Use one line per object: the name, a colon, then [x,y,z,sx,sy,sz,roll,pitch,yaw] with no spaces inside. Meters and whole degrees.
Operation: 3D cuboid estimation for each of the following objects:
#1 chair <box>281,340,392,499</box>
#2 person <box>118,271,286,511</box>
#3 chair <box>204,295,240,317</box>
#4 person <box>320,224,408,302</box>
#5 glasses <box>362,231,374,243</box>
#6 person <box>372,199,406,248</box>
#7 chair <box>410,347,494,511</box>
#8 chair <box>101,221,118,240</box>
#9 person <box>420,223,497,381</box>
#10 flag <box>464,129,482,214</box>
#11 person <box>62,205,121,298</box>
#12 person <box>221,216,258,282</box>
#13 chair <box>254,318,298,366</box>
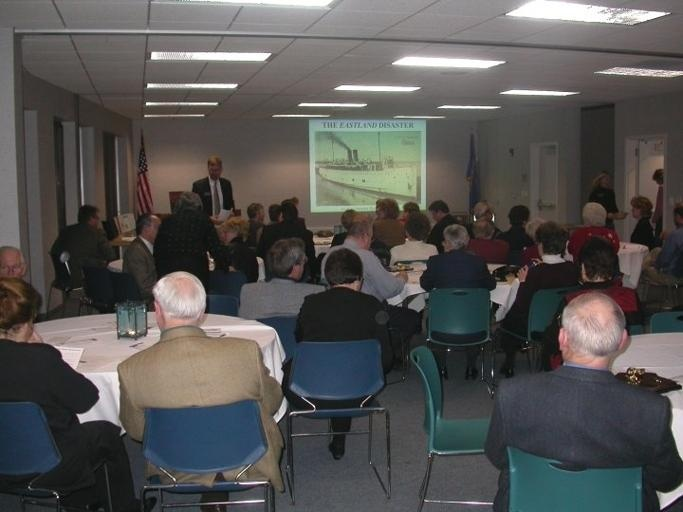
chair: [-0.012,0.966,3.767,0.708,1.026,0.667,-3,9,-13]
person: [-0.679,0.717,2.846,0.767,1.243,0.353,-3,9,-8]
chair: [-0.978,0.397,4.814,0.176,0.243,0.195,3,5,4]
person: [0.221,0.062,5.367,0.703,0.946,0.577,7,34,20]
glasses: [0.220,-0.166,5.391,0.081,0.120,0.114,6,15,18]
person: [0.650,-0.382,8.046,0.530,0.808,0.444,-4,7,-24]
chair: [0.633,1.032,3.397,0.448,1.113,0.637,1,9,15]
chair: [-3.551,-0.385,9.043,0.153,0.289,0.289,-10,8,-7]
person: [1.059,0.433,5.535,0.672,1.510,0.514,-2,19,3]
flag: [3.176,-2.022,14.289,0.333,1.946,2.519,1,10,13]
person: [-3.324,0.174,7.824,0.663,1.693,0.487,3,24,-5]
person: [-1.046,-0.081,6.088,0.266,0.763,0.304,17,41,27]
chair: [-0.437,0.539,4.020,0.330,0.244,0.266,0,0,-5]
